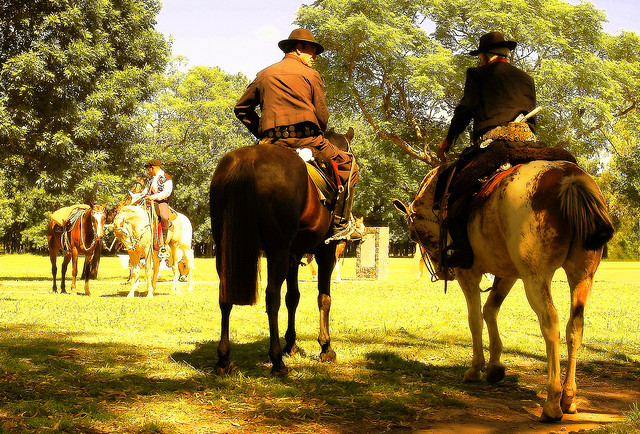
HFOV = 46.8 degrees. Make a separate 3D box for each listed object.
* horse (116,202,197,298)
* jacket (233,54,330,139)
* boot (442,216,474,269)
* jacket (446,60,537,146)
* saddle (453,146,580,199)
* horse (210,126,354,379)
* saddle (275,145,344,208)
[{"bbox_3d":[-5.664,1.108,25.000,1.500,2.887,5.316,-4,-3,12],"label":"horse"},{"bbox_3d":[-0.704,-2.346,14.457,1.778,1.667,0.837,4,9,2],"label":"jacket"},{"bbox_3d":[2.608,0.489,13.855,0.377,0.847,0.690,-7,3,-25],"label":"boot"},{"bbox_3d":[3.634,-2.086,14.268,1.581,1.649,1.642,4,-11,-10],"label":"jacket"},{"bbox_3d":[3.332,-0.896,13.271,1.921,0.512,2.307,-22,23,-37],"label":"saddle"},{"bbox_3d":[-0.807,0.756,13.944,1.559,4.222,2.578,13,13,42],"label":"horse"},{"bbox_3d":[0.027,-0.773,14.454,1.061,1.187,0.503,-4,13,-42],"label":"saddle"}]
